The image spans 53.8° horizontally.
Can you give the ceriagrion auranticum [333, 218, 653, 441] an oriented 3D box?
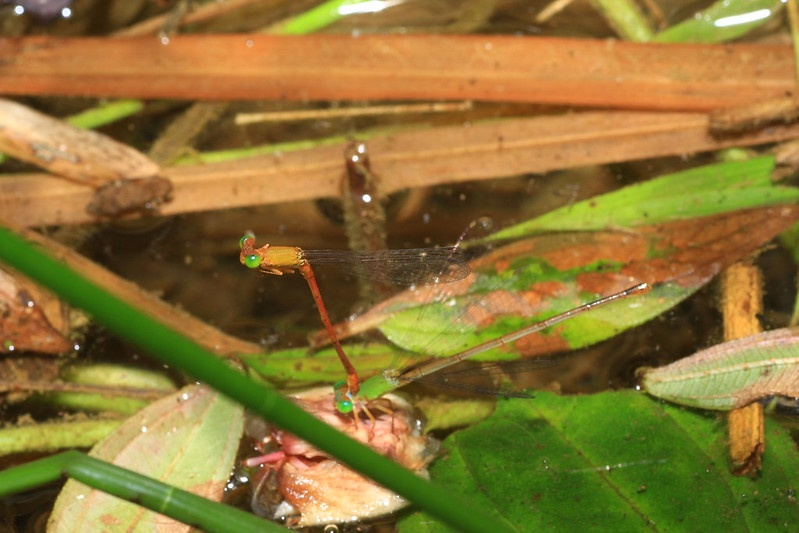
[{"bbox_3d":[0.117,0.087,1.058,0.444,0.108,0.160,-20,52,2],"label":"ceriagrion auranticum"}]
